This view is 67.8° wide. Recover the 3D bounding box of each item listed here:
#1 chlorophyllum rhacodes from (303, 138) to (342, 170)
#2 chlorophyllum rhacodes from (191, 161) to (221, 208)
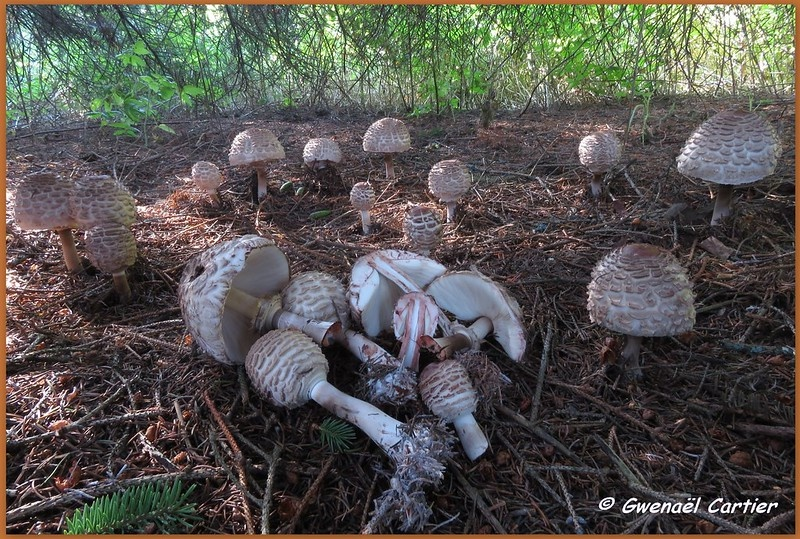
[{"bbox_3d":[-1.230,-1.819,9.322,0.537,0.469,0.423,-8,24,-6],"label":"chlorophyllum rhacodes"},{"bbox_3d":[-2.831,-1.292,8.796,0.348,0.658,0.561,-15,25,-17],"label":"chlorophyllum rhacodes"}]
